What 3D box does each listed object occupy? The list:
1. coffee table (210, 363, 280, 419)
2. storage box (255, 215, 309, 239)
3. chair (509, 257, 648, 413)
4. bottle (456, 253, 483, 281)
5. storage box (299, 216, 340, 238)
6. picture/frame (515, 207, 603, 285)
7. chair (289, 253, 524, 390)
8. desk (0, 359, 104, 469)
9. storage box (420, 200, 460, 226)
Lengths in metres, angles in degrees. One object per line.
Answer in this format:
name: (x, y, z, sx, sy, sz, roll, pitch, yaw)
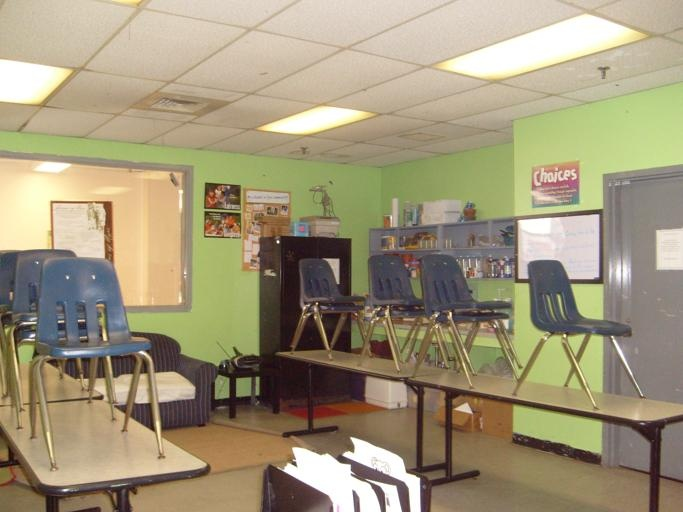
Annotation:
coffee table: (-1.284, 1.738, 7.438, 0.858, 0.661, 0.808, 2, -6, -32)
storage box: (-0.852, -0.413, 7.949, 0.493, 0.246, 0.465, 3, -3, -33)
chair: (1.824, 0.553, 4.245, 0.885, 0.895, 0.872, 1, 6, -18)
bottle: (1.630, 0.148, 6.941, 0.155, 0.339, 0.420, 4, -4, -24)
storage box: (-0.260, -0.432, 7.938, 0.417, 0.201, 0.382, 1, -2, -23)
picture/frame: (2.224, -0.106, 5.528, 0.038, 0.611, 0.966, 8, -8, -42)
chair: (0.720, 0.751, 6.123, 2.398, 1.068, 0.728, 0, -7, 17)
desk: (-2.107, 1.257, 4.081, 0.699, 0.211, 1.018, -2, 5, -31)
storage box: (1.334, -0.608, 7.709, 0.381, 0.385, 0.674, -3, 4, -37)
